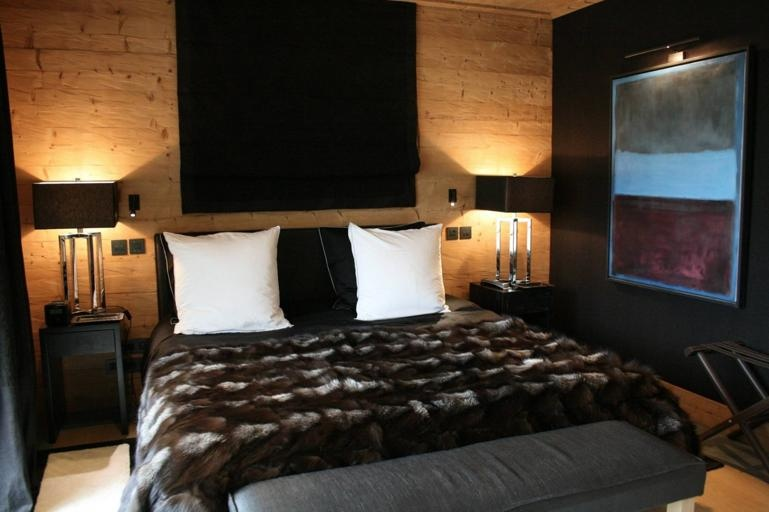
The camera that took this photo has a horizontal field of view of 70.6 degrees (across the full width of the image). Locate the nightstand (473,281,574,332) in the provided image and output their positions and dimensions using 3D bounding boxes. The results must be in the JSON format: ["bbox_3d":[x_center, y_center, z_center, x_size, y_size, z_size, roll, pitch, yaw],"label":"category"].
[{"bbox_3d":[1.238,0.387,5.062,0.675,0.540,0.474,-3,6,-30],"label":"nightstand"}]
